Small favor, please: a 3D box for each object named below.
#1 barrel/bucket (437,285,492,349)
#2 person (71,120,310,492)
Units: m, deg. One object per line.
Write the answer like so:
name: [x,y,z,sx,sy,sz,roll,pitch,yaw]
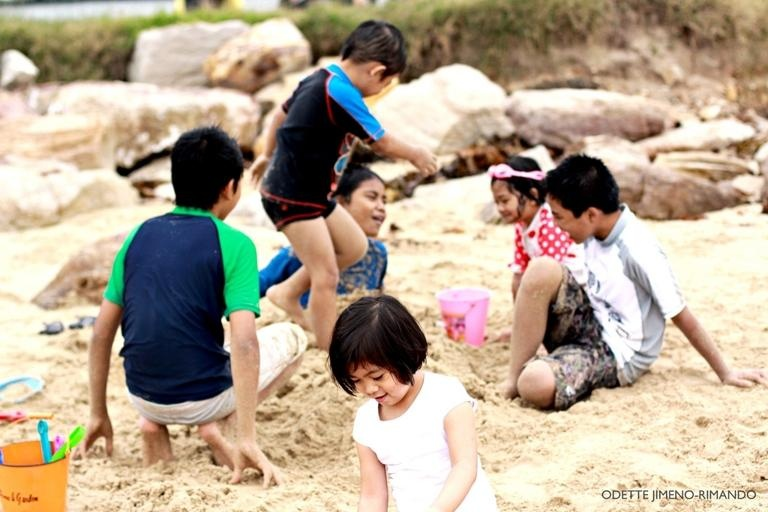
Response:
barrel/bucket: [0.599,0.418,7.802,0.423,0.355,0.434,-5,13,1]
person: [-1.277,0.356,6.452,1.102,2.105,0.872,-9,20,-11]
